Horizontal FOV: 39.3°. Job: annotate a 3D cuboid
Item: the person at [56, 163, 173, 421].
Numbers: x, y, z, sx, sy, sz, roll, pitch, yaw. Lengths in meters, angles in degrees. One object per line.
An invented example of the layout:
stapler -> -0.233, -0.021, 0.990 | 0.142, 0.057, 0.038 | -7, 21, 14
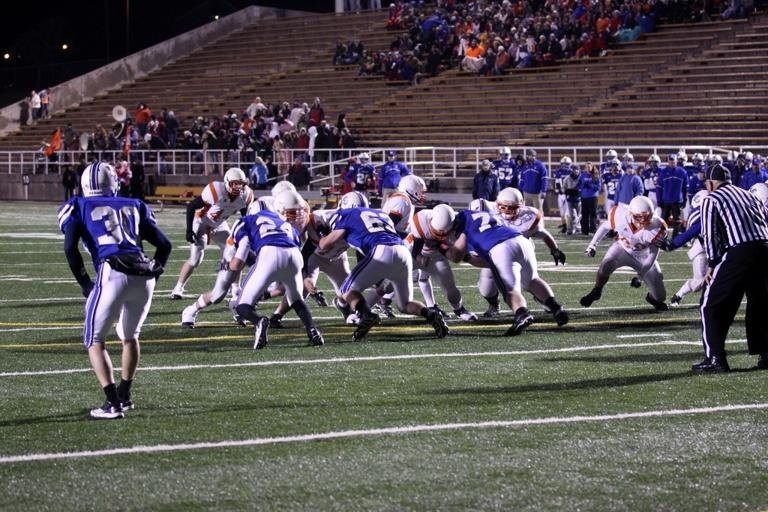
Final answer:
person -> -2.097, 0.233, 8.511 | 0.730, 1.916, 0.834 | -6, 11, -28

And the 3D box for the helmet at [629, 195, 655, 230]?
helmet -> 2.916, -0.531, 12.387 | 0.277, 0.282, 0.350 | -7, 20, 5

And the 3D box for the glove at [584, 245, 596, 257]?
glove -> 2.473, -0.055, 13.076 | 0.107, 0.142, 0.325 | 5, 11, 22

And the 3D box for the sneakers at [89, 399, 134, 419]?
sneakers -> -2.154, 1.181, 8.314 | 0.308, 0.133, 0.124 | 2, -4, 3

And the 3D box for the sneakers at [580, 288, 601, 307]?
sneakers -> 2.395, 0.497, 12.549 | 0.081, 0.215, 0.101 | 28, -21, 47

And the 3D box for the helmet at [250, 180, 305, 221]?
helmet -> -1.150, -0.591, 11.492 | 0.571, 0.306, 0.370 | 0, 7, 27

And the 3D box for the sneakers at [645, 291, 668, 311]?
sneakers -> 3.155, 0.551, 12.362 | 0.328, 0.118, 0.143 | 41, 8, 17

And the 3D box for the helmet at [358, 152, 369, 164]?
helmet -> -0.384, -1.891, 20.794 | 0.212, 0.211, 0.230 | 0, -9, -15

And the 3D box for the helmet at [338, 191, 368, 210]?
helmet -> -0.363, -0.611, 11.805 | 0.302, 0.207, 0.252 | -4, -4, 7

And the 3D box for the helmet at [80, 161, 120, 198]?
helmet -> -2.293, -0.626, 8.648 | 0.257, 0.319, 0.289 | 3, -19, -4

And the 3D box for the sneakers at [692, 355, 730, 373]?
sneakers -> 2.803, 0.948, 9.329 | 0.356, 0.163, 0.131 | 2, 5, 20

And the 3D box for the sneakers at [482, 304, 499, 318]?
sneakers -> 1.190, 0.590, 12.139 | 0.177, 0.166, 0.302 | 0, 9, 6

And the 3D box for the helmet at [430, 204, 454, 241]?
helmet -> 0.638, -0.386, 11.414 | 0.259, 0.333, 0.277 | 13, -35, -19

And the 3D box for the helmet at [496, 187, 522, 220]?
helmet -> 1.425, -0.598, 12.244 | 0.273, 0.284, 0.364 | 16, 12, 33

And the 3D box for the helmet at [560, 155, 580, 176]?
helmet -> 3.695, -1.799, 21.622 | 0.360, 0.368, 0.473 | 4, -10, 25

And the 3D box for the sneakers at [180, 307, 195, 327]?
sneakers -> -2.098, 0.630, 11.498 | 0.160, 0.217, 0.367 | -3, 10, -12

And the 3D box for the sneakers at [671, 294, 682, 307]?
sneakers -> 3.397, 0.525, 12.577 | 0.127, 0.148, 0.150 | 8, -6, -28

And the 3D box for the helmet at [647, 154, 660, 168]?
helmet -> 5.161, -1.832, 20.738 | 0.235, 0.276, 0.303 | -2, -5, 40

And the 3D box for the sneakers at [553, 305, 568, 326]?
sneakers -> 1.815, 0.658, 11.066 | 0.106, 0.121, 0.281 | -16, -26, 9

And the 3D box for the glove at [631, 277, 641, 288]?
glove -> 3.042, 0.327, 13.073 | 0.098, 0.134, 0.131 | 22, 7, 34

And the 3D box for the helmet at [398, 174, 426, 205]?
helmet -> 0.294, -0.789, 12.368 | 0.338, 0.282, 0.267 | 11, 29, -13

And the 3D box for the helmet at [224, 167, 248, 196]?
helmet -> -1.796, -0.907, 13.149 | 0.277, 0.285, 0.338 | -1, 16, -33
